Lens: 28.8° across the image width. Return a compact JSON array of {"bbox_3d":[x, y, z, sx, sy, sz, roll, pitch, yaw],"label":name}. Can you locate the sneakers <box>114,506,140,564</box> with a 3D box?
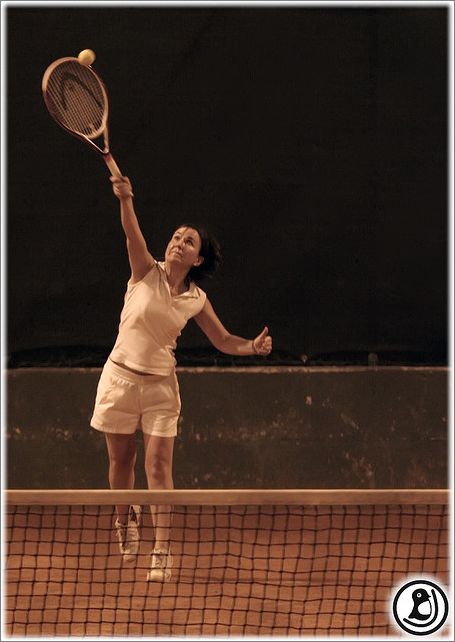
[{"bbox_3d":[-0.470,1.005,4.175,0.093,0.299,0.119,-4,2,21],"label":"sneakers"}]

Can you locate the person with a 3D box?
[{"bbox_3d":[-0.358,0.308,4.073,0.613,1.602,1.037,-4,-30,27],"label":"person"}]

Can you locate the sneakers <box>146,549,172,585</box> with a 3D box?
[{"bbox_3d":[-0.306,1.094,3.939,0.099,0.131,0.153,12,-27,-3],"label":"sneakers"}]
